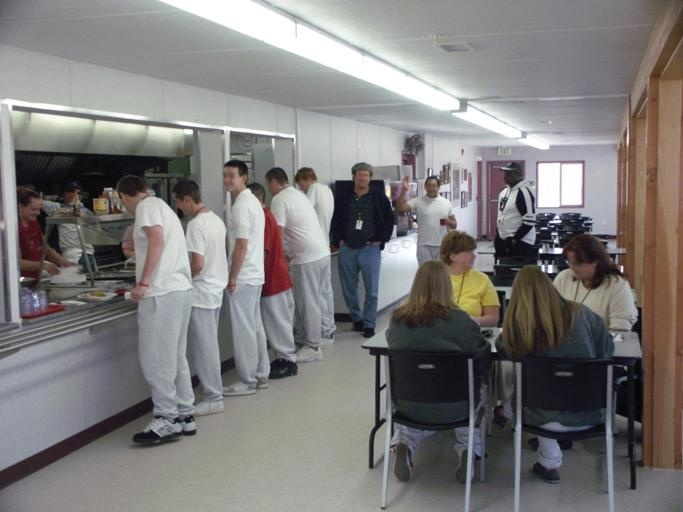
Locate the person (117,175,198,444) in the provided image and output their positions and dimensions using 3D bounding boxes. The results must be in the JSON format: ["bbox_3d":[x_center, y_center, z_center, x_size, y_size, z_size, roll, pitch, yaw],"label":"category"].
[{"bbox_3d":[-1.412,0.407,4.219,0.496,2.031,0.413,-3,8,-17],"label":"person"}]

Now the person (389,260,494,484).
[{"bbox_3d":[0.659,0.714,3.626,0.736,1.402,0.752,-6,11,-13],"label":"person"}]

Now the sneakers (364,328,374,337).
[{"bbox_3d":[0.326,0.956,6.809,0.105,0.156,0.143,0,1,-10],"label":"sneakers"}]

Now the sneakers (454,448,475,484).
[{"bbox_3d":[0.822,1.382,3.606,0.112,0.250,0.099,1,-5,13],"label":"sneakers"}]

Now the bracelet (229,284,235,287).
[{"bbox_3d":[-0.984,0.263,4.882,0.031,0.033,0.025,4,4,-2],"label":"bracelet"}]

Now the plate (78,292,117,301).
[{"bbox_3d":[-2.023,0.324,4.470,0.290,0.057,0.219,0,9,4],"label":"plate"}]

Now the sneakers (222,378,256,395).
[{"bbox_3d":[-0.969,1.234,5.143,0.307,0.133,0.118,2,-1,-9],"label":"sneakers"}]

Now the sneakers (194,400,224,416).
[{"bbox_3d":[-1.141,1.300,4.691,0.254,0.110,0.100,1,1,-18],"label":"sneakers"}]

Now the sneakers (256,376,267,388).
[{"bbox_3d":[-0.770,1.213,5.228,0.107,0.112,0.071,-1,1,-1],"label":"sneakers"}]

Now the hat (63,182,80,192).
[{"bbox_3d":[-3.069,-0.777,6.165,0.208,0.118,0.305,-1,9,-9],"label":"hat"}]

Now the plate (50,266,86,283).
[{"bbox_3d":[-2.401,0.172,4.772,0.265,0.125,0.206,-8,11,-41],"label":"plate"}]

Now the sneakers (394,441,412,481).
[{"bbox_3d":[0.396,1.346,3.618,0.122,0.254,0.104,-4,-4,0],"label":"sneakers"}]

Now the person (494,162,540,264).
[{"bbox_3d":[2.223,-0.587,7.129,0.583,1.230,0.622,5,10,38],"label":"person"}]

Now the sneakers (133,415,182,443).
[{"bbox_3d":[-1.382,1.339,4.198,0.419,0.231,0.152,1,3,-23],"label":"sneakers"}]

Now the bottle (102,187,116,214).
[{"bbox_3d":[-2.195,-0.524,5.172,0.119,0.220,0.232,-4,9,-25],"label":"bottle"}]

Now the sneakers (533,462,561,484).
[{"bbox_3d":[1.339,1.427,3.611,0.091,0.123,0.170,-8,9,-44],"label":"sneakers"}]

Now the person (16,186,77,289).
[{"bbox_3d":[-2.681,-0.225,4.909,0.371,0.784,0.916,-5,9,-26],"label":"person"}]

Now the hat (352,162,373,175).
[{"bbox_3d":[0.241,-1.087,6.766,0.208,0.137,0.218,1,5,24],"label":"hat"}]

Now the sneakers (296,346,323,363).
[{"bbox_3d":[-0.366,1.085,6.050,0.294,0.137,0.126,1,0,-15],"label":"sneakers"}]
